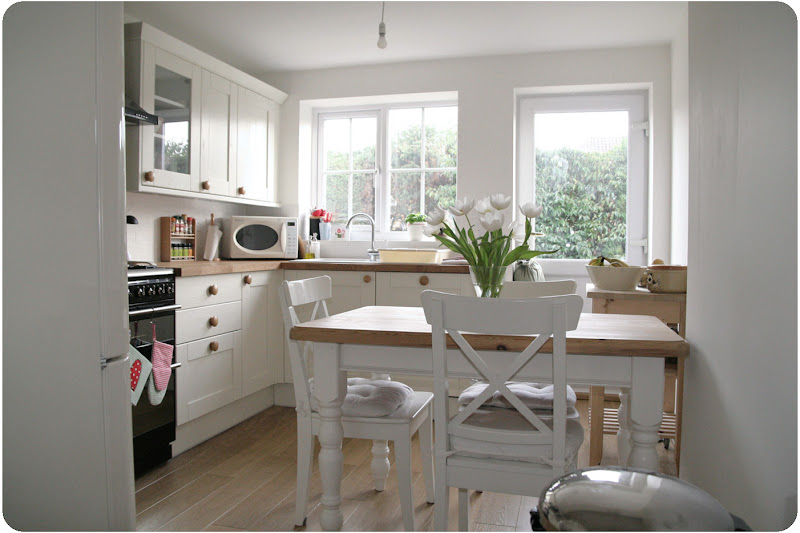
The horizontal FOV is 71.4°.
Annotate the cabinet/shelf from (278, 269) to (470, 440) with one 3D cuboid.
[{"bbox_3d":[-0.028,0.402,2.873,0.828,1.285,0.778,-1,1,16],"label":"cabinet/shelf"}]

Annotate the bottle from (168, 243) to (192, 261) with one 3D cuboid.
[{"bbox_3d":[-1.511,-0.109,3.801,0.043,0.126,0.199,2,8,18],"label":"bottle"}]

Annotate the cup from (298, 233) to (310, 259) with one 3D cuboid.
[{"bbox_3d":[-0.731,-0.132,4.182,0.079,0.136,0.179,-2,8,-7],"label":"cup"}]

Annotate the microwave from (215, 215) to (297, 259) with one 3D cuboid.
[{"bbox_3d":[-0.977,-0.202,3.903,0.448,0.279,0.326,0,-2,-12],"label":"microwave"}]

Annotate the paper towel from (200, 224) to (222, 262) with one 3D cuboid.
[{"bbox_3d":[-1.333,-0.169,3.895,0.138,0.239,0.452,-3,8,-18],"label":"paper towel"}]

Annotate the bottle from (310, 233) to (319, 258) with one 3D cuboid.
[{"bbox_3d":[-0.676,-0.163,4.364,0.066,0.175,0.261,-1,8,-6],"label":"bottle"}]

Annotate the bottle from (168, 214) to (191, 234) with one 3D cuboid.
[{"bbox_3d":[-1.502,-0.285,3.786,0.035,0.128,0.172,4,9,27],"label":"bottle"}]

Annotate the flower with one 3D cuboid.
[{"bbox_3d":[0.514,-0.119,2.980,0.731,0.710,0.708,-2,3,-3],"label":"flower"}]

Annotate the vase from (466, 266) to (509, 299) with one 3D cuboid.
[{"bbox_3d":[0.373,0.063,2.342,0.190,0.156,0.204,1,0,-2],"label":"vase"}]

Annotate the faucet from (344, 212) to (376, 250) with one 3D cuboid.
[{"bbox_3d":[-0.314,-0.281,4.377,0.252,0.289,0.562,-1,7,-5],"label":"faucet"}]

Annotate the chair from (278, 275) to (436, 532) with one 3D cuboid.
[{"bbox_3d":[-0.261,0.563,3.014,0.985,1.530,0.943,0,1,14],"label":"chair"}]

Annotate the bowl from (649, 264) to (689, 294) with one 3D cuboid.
[{"bbox_3d":[1.342,0.056,2.780,0.179,0.118,0.176,2,1,0],"label":"bowl"}]

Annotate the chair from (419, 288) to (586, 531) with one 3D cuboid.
[{"bbox_3d":[0.401,0.562,2.052,0.539,1.010,0.432,2,8,18],"label":"chair"}]

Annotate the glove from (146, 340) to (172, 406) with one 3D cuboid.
[{"bbox_3d":[-1.217,0.532,2.771,0.082,0.330,0.164,0,8,2],"label":"glove"}]
